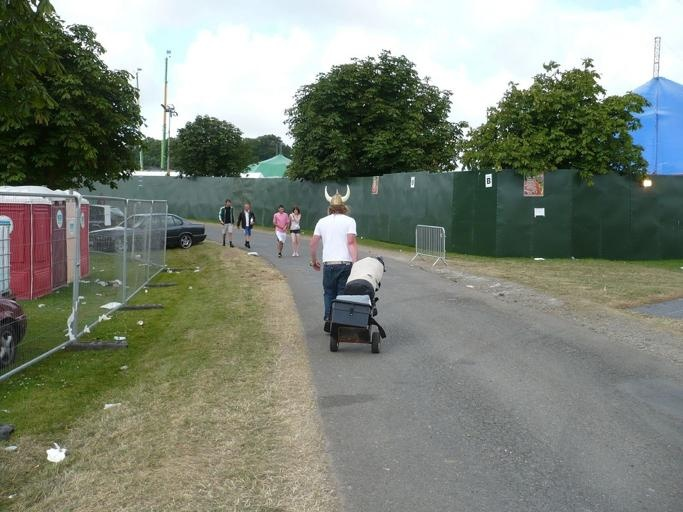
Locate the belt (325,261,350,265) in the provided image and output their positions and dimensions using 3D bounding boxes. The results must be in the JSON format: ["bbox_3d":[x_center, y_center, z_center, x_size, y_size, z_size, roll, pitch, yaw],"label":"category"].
[{"bbox_3d":[-0.050,0.107,10.046,0.431,0.067,0.084,0,7,-9],"label":"belt"}]

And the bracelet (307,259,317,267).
[{"bbox_3d":[-0.718,0.176,14.304,0.216,0.122,0.329,1,0,0],"label":"bracelet"}]

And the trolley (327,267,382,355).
[{"bbox_3d":[0.243,0.972,9.469,0.526,0.854,1.430,2,14,5],"label":"trolley"}]
